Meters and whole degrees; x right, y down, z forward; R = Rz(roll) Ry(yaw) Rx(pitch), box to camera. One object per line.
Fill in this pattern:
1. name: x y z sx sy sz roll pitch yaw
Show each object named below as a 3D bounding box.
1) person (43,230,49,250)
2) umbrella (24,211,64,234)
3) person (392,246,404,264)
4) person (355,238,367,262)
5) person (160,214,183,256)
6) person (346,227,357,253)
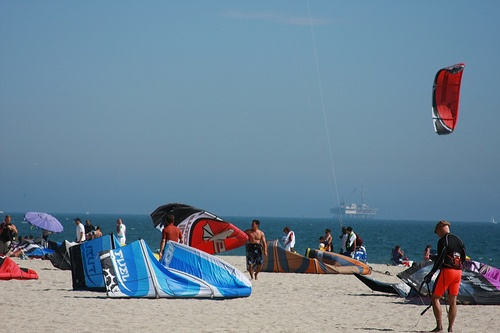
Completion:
1. person: -7.918 2.778 27.318 0.274 0.678 1.730 3 -9 -16
2. umbrella: -8.093 2.173 27.706 1.408 0.778 1.672 4 -9 -17
3. person: 6.723 4.009 32.087 0.554 0.860 1.054 0 -8 11
4. person: 4.343 3.257 27.609 0.330 0.993 2.337 -1 -8 13
5. person: -2.255 2.003 20.319 0.624 1.238 1.088 1 -8 -3
6. person: 3.841 2.783 26.608 0.390 1.053 0.866 -3 -8 28
